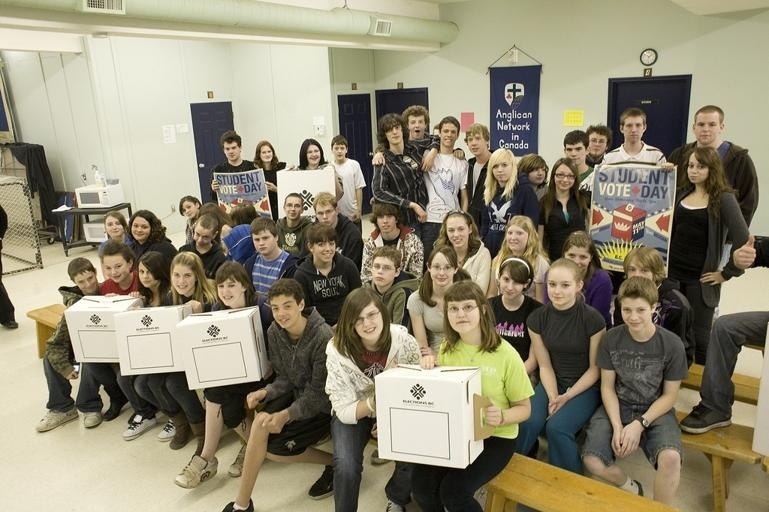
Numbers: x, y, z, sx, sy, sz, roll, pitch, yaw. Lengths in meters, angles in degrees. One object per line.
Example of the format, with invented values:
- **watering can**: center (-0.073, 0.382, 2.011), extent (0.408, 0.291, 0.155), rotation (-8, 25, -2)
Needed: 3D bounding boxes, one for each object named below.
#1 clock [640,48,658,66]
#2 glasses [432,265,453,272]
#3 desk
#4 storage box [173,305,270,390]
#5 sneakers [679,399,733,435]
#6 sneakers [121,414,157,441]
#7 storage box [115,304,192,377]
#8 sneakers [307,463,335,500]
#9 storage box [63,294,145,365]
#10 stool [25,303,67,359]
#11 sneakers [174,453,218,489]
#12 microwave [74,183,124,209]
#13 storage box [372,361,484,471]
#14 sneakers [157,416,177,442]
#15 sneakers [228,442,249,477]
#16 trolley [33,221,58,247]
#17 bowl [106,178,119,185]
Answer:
- **clock**: center (4.154, -3.129, 8.834), extent (0.042, 0.290, 0.283), rotation (-12, 2, -41)
- **glasses**: center (0.490, 0.107, 4.748), extent (0.153, 0.058, 0.030), rotation (-7, 13, -3)
- **desk**: center (-5.260, -0.518, 10.121), extent (1.298, 1.033, 1.055), rotation (2, -2, -29)
- **storage box**: center (-1.374, 0.780, 4.725), extent (0.611, 0.564, 0.332), rotation (-8, 16, 2)
- **sneakers**: center (2.588, 1.293, 4.531), extent (0.457, 0.201, 0.166), rotation (-4, 9, -14)
- **sneakers**: center (-2.373, 1.634, 5.483), extent (0.128, 0.169, 0.386), rotation (11, 14, 25)
- **storage box**: center (-2.029, 0.751, 5.106), extent (0.648, 0.579, 0.346), rotation (-6, 1, 16)
- **sneakers**: center (-0.540, 1.903, 4.763), extent (0.132, 0.210, 0.377), rotation (-5, 2, 19)
- **storage box**: center (-2.646, 0.672, 5.452), extent (0.640, 0.550, 0.654), rotation (-5, 16, -16)
- **stool**: center (-3.810, 0.865, 6.316), extent (0.542, 0.357, 0.298), rotation (21, 29, 23)
- **sneakers**: center (-1.630, 1.840, 4.867), extent (0.184, 0.212, 0.451), rotation (16, 9, 25)
- **microwave**: center (-4.947, -1.053, 9.855), extent (0.646, 0.361, 0.461), rotation (1, 7, 17)
- **storage box**: center (0.302, 1.155, 4.029), extent (0.665, 0.582, 0.394), rotation (-2, -4, 19)
- **sneakers**: center (-2.086, 1.669, 5.425), extent (0.114, 0.146, 0.340), rotation (0, -5, -3)
- **sneakers**: center (-1.289, 1.822, 5.037), extent (0.137, 0.174, 0.404), rotation (1, 4, 0)
- **trolley**: center (-6.605, -0.445, 10.981), extent (0.433, 0.547, 0.416), rotation (10, 15, 34)
- **bowl**: center (-4.867, -1.312, 10.028), extent (0.154, 0.097, 0.150), rotation (-1, 5, 0)
